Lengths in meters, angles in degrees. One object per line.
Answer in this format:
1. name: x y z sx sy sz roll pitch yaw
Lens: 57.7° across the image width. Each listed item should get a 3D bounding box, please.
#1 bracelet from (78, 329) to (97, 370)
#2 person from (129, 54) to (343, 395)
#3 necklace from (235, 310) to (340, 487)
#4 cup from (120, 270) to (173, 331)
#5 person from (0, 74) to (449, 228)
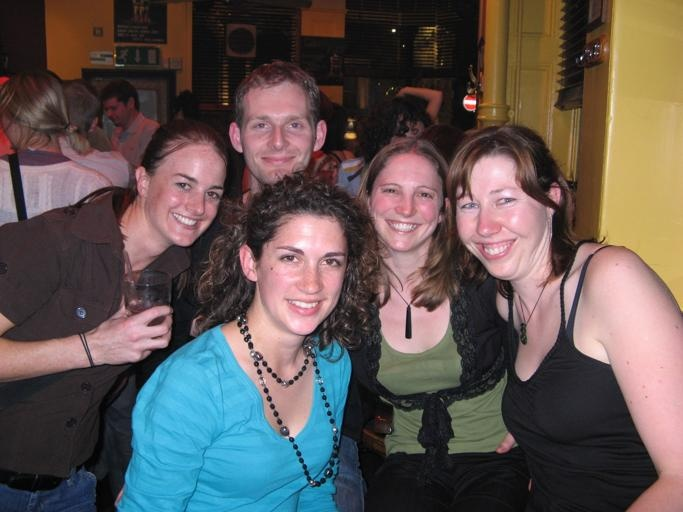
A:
1. bracelet: -1.120 0.421 2.715 0.073 0.146 0.028 3 10 13
2. person: -0.209 -0.122 3.691 0.769 1.946 0.768 -12 9 1
3. necklace: -0.227 0.641 2.695 0.080 0.811 0.413 -27 -5 42
4. cup: -0.846 0.200 2.760 0.225 0.238 0.205 6 7 -1
5. person: -0.821 -0.677 3.905 2.516 0.577 0.348 1 10 -3
